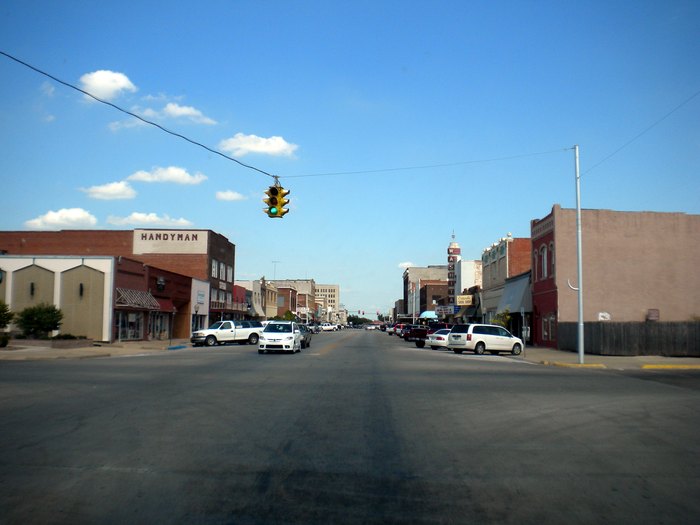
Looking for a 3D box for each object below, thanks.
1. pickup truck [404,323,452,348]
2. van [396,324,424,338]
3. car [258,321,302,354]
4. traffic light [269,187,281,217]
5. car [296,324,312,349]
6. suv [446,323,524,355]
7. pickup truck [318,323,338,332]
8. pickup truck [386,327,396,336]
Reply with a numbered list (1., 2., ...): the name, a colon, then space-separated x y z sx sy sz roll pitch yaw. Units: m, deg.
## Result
1. pickup truck: 7.001 6.029 51.301 4.165 1.548 1.768 -1 -1 -20
2. van: 5.451 6.325 53.528 1.516 1.279 3.080 -1 -1 33
3. car: -3.594 3.882 31.576 1.916 1.598 2.370 0 -4 -2
4. traffic light: -2.545 -2.067 20.700 0.468 1.114 0.576 1 -3 -9
5. car: -2.901 4.750 39.031 0.921 0.902 1.727 -1 -8 2
6. suv: 7.928 4.418 35.367 3.210 1.471 1.940 -1 -3 -11
7. pickup truck: -3.787 11.668 110.798 2.829 1.157 1.348 4 -7 -18
8. pickup truck: 6.872 11.178 100.899 1.409 1.399 2.305 0 -11 -3
